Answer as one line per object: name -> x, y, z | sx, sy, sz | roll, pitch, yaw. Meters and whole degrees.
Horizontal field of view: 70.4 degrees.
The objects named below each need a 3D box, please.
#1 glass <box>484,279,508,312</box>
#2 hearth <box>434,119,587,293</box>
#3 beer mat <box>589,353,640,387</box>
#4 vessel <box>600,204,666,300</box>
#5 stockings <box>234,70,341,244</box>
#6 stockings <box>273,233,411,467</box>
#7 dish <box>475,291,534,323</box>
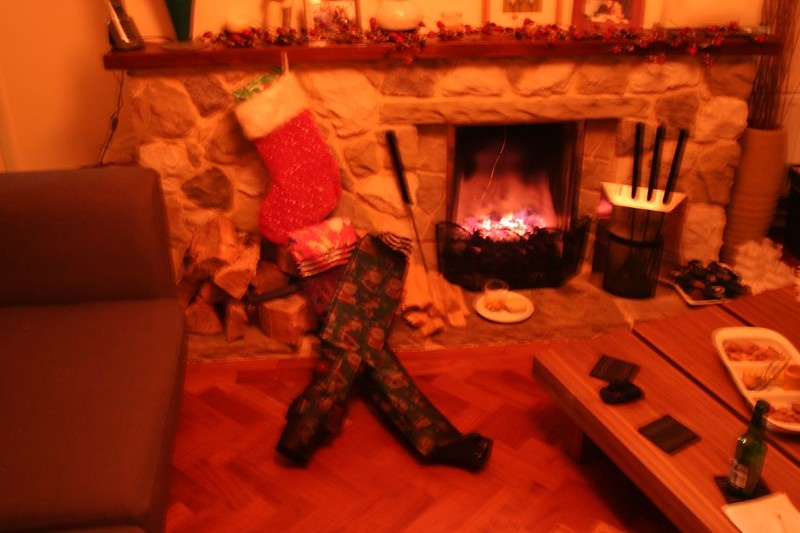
glass -> 0.448, 0.141, 2.641 | 0.086, 0.096, 0.091 | 25, 39, 34
hearth -> 0.510, -0.300, 2.708 | 0.646, 0.876, 0.449 | -2, 25, -1
beer mat -> 0.707, 0.343, 1.876 | 0.097, 0.026, 0.095 | 20, 48, 25
vessel -> 1.075, -0.074, 2.631 | 0.269, 0.420, 0.188 | 14, 36, 27
stockings -> -0.469, -0.434, 2.398 | 0.442, 0.668, 0.178 | -18, 15, -18
stockings -> -0.191, 0.260, 2.358 | 0.289, 0.184, 1.087 | 25, 64, -5
dish -> 0.486, 0.173, 2.603 | 0.283, 0.294, 0.044 | -15, 58, 27
